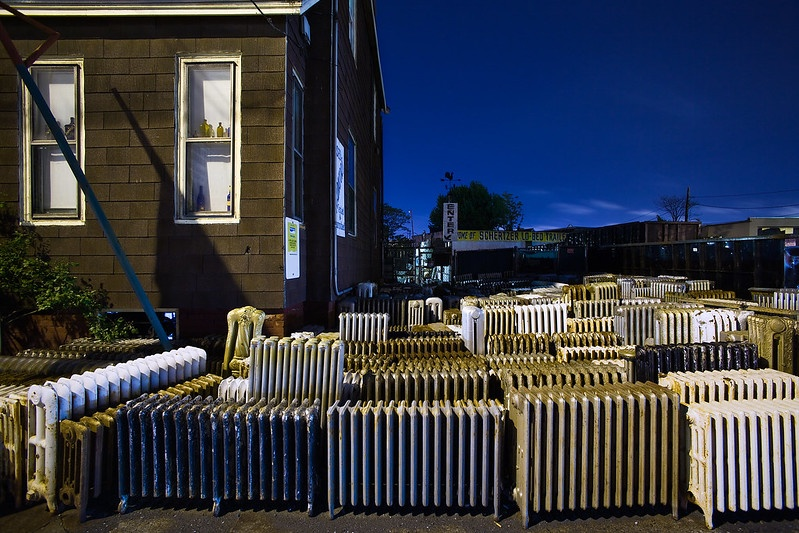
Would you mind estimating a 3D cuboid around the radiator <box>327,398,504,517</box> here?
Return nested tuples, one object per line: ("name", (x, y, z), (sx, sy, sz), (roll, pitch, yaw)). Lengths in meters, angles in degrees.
("radiator", (0.419, 3.427, 14.773), (2.653, 1.885, 1.811), (0, 1, 3))

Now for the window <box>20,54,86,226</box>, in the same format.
("window", (-7.630, -2.772, 17.501), (1.379, 3.679, 0.388), (0, 13, -19))

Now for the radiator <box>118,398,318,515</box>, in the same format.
("radiator", (-3.228, 3.359, 14.074), (3.602, 1.917, 0.398), (0, 1, 0))
